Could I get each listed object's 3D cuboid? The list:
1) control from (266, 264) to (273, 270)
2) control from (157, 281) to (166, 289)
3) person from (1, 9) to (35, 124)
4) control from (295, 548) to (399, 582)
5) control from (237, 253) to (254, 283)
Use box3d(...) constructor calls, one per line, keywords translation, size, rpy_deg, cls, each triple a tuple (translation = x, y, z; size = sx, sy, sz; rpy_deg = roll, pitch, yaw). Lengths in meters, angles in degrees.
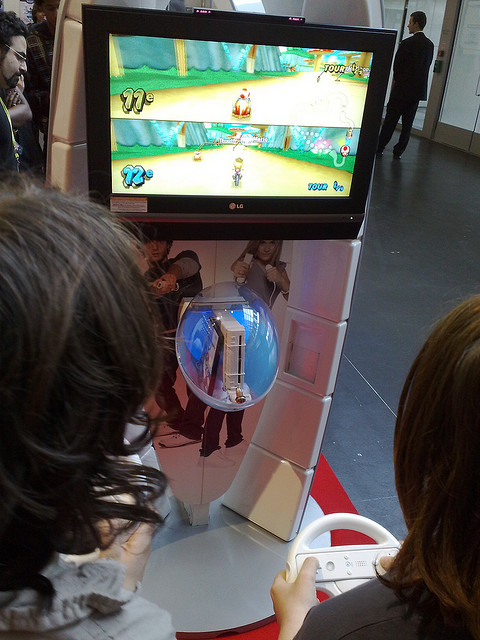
box3d(translation=(0.098, -0.182, 1.619), size=(0.018, 0.017, 0.004), rpy_deg=(3, 10, -16), cls="control")
box3d(translation=(-0.248, -0.113, 1.515), size=(0.018, 0.025, 0.007), rpy_deg=(8, 38, -43), cls="control")
box3d(translation=(-1.326, -1.467, 2.769), size=(0.176, 0.589, 0.777), rpy_deg=(-3, 25, -23), cls="person")
box3d(translation=(0.300, 0.695, 1.351), size=(0.320, 0.065, 0.087), rpy_deg=(3, 23, -11), cls="control")
box3d(translation=(0.013, -0.184, 1.584), size=(0.035, 0.121, 0.031), rpy_deg=(8, 10, 5), cls="control")
